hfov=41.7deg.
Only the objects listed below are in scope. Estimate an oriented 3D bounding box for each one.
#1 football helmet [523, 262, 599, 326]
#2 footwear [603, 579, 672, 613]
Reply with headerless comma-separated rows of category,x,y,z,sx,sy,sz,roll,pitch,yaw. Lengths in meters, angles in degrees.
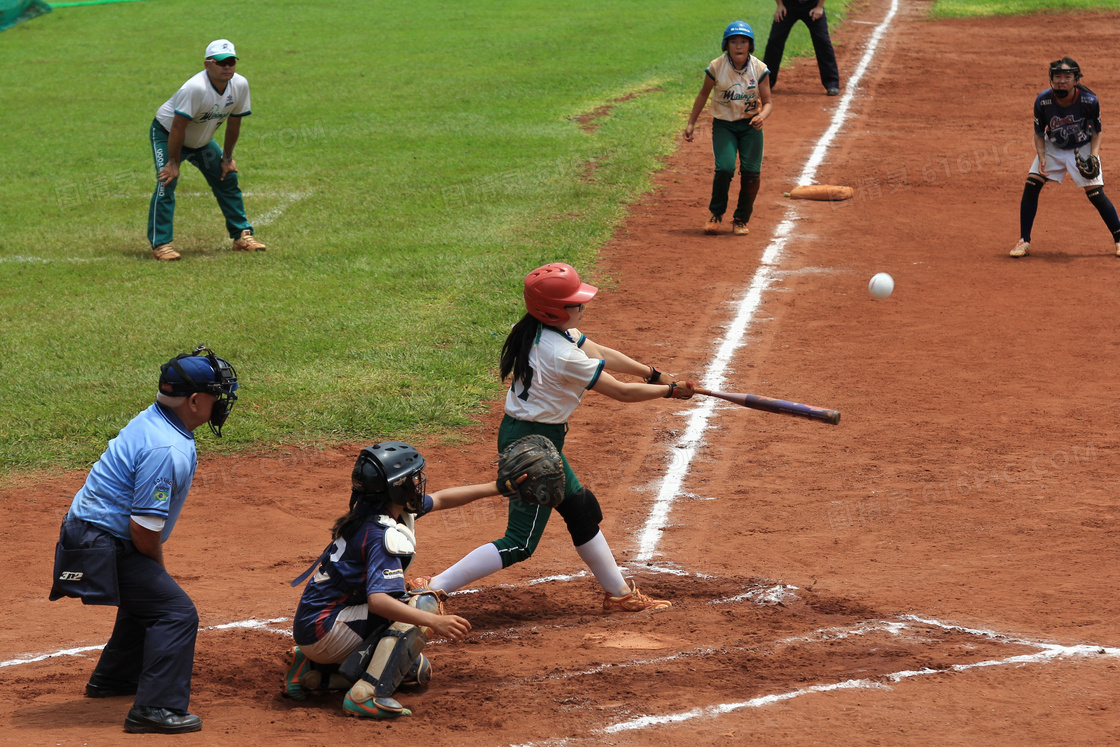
football helmet,-0.100,-0.668,11.555,0.858,0.368,0.410,-2,26,-3
footwear,0.441,1.820,11.769,0.766,0.179,0.196,0,4,-4
